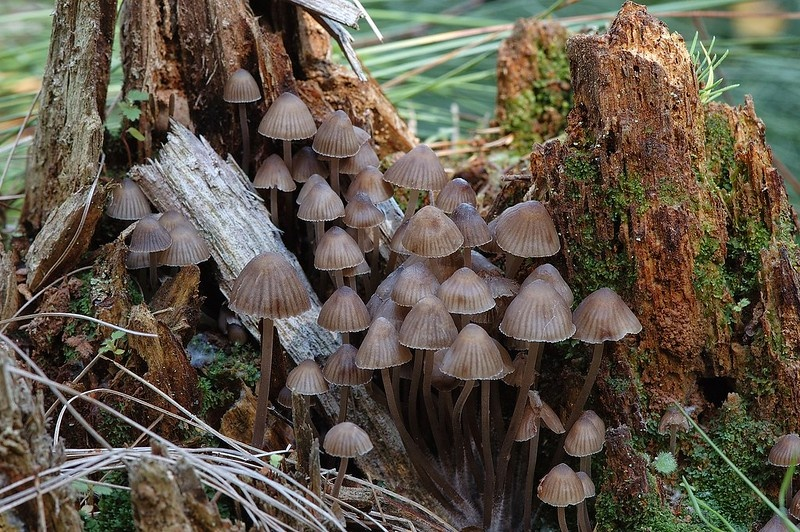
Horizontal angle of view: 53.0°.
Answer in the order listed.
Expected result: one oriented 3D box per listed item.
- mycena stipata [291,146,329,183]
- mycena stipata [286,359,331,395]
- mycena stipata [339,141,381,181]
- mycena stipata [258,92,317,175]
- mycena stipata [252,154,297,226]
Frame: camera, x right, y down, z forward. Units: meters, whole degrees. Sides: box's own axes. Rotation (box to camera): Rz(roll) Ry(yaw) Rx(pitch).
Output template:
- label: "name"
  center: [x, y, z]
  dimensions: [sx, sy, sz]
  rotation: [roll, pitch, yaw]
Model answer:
- label: "mycena stipata"
  center: [-0.863, -0.969, 7.722]
  dimensions: [0.307, 0.338, 0.326]
  rotation: [1, 34, 6]
- label: "mycena stipata"
  center: [-0.781, 0.901, 6.705]
  dimensions: [0.370, 0.256, 0.391]
  rotation: [6, 11, -4]
- label: "mycena stipata"
  center: [-0.383, -0.989, 7.579]
  dimensions: [0.286, 0.357, 0.308]
  rotation: [-19, 24, -37]
- label: "mycena stipata"
  center: [-1.076, -1.284, 7.588]
  dimensions: [0.523, 0.833, 0.583]
  rotation: [6, 35, -1]
- label: "mycena stipata"
  center: [-1.227, -0.734, 7.735]
  dimensions: [0.406, 0.727, 0.416]
  rotation: [-7, 25, -21]
